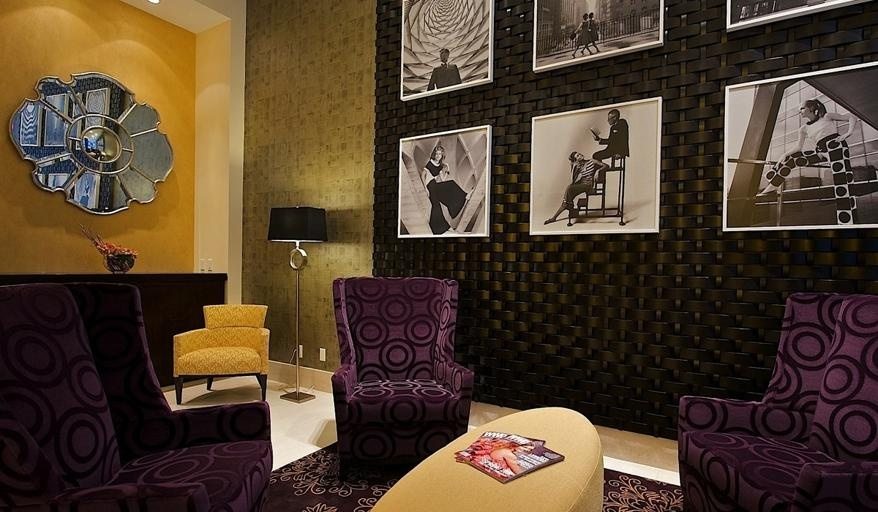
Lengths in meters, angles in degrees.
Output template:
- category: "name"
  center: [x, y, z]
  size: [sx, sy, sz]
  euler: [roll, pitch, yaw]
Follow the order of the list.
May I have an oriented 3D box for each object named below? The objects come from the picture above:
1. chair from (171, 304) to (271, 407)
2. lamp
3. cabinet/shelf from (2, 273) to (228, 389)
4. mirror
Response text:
- category: "chair"
  center: [-2.251, 1.029, 5.954]
  size: [0.996, 1.019, 0.978]
  euler: [0, -8, -9]
- category: "lamp"
  center: [-1.413, 0.484, 5.856]
  size: [0.569, 1.982, 0.509]
  euler: [1, 2, 18]
- category: "cabinet/shelf"
  center: [-2.511, 0.587, 4.348]
  size: [0.396, 0.774, 1.241]
  euler: [-3, -3, 29]
- category: "mirror"
  center: [-3.745, -1.192, 5.921]
  size: [0.121, 1.578, 1.562]
  euler: [-9, 1, 39]
